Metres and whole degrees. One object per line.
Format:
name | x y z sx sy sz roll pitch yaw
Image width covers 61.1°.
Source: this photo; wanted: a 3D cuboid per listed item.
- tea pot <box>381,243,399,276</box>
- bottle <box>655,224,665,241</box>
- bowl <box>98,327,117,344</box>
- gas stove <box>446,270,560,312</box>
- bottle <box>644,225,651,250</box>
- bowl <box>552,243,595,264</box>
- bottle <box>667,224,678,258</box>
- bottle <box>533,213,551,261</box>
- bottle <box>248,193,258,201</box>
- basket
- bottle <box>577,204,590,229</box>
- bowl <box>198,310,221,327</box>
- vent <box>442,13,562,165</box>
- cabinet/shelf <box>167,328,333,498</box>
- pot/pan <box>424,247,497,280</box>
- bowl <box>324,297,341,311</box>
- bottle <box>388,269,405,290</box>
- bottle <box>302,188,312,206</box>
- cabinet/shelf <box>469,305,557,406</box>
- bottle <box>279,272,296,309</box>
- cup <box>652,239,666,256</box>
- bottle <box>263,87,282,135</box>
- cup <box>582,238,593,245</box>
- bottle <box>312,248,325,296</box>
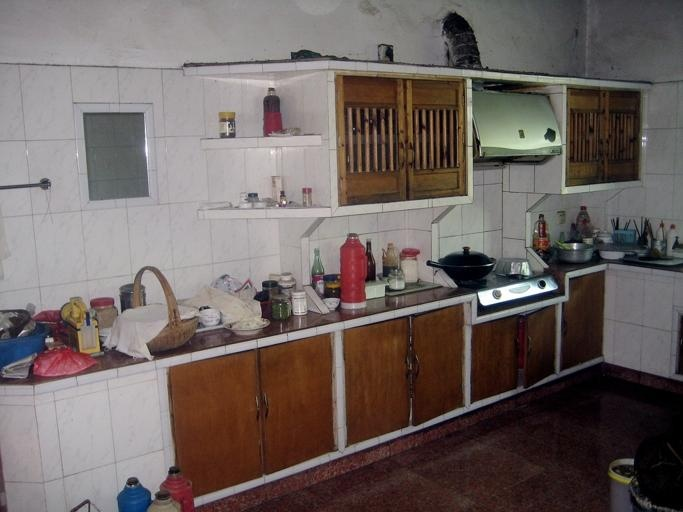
tea pot | 0.398 0.036 4.713 0.137 0.254 0.323 0 15 5
bottle | 3.032 -0.230 5.493 0.081 0.155 0.197 7 17 27
bowl | -1.462 0.501 3.609 0.114 0.110 0.028 9 0 14
gas stove | 1.419 0.295 4.770 0.512 0.123 0.343 -11 11 -32
bottle | 2.976 -0.165 5.614 0.027 0.200 0.075 -5 14 -15
bowl | 2.193 -0.045 5.455 0.283 0.175 0.332 12 20 40
bottle | 3.095 -0.150 5.427 0.090 0.275 0.207 8 17 30
bottle | 1.878 -0.194 5.421 0.153 0.336 0.410 4 16 19
bottle | -0.612 -0.405 3.993 0.066 0.048 0.104 -3 15 -10
basket | -1.096 0.319 3.585 0.357 0.481 0.373 -7 16 -23
bottle | 2.483 -0.409 5.909 0.133 0.202 0.231 6 16 23
bowl | -0.871 0.411 3.810 0.106 0.088 0.119 7 13 31
vent | 1.207 -1.429 4.920 0.976 1.460 0.924 -5 3 -11
cabinet/shelf | -0.624 0.982 3.686 1.059 0.902 0.412 -8 9 -35
pot/pan | 0.983 0.069 4.669 0.396 0.171 0.285 -5 8 -4
bowl | -0.069 0.345 4.147 0.089 0.048 0.090 -5 8 1
bottle | 0.425 0.192 4.607 0.150 0.156 0.115 -4 7 -16
bottle | -0.226 -0.397 3.914 0.065 0.117 0.093 -5 15 -14
cabinet/shelf | 1.502 0.836 4.814 0.840 0.582 0.526 -6 -15 12
bottle | -0.385 0.243 4.131 0.133 0.207 0.331 -2 15 -4
cup | 2.976 -0.077 5.426 0.121 0.159 0.155 -3 7 -36
bottle | -0.480 -1.003 4.010 0.138 0.322 0.350 -3 15 -7
cup | 2.412 -0.142 5.648 0.081 0.050 0.081 -4 15 1
bottle | -0.180 0.116 4.324 0.090 0.335 0.226 -1 14 -1
